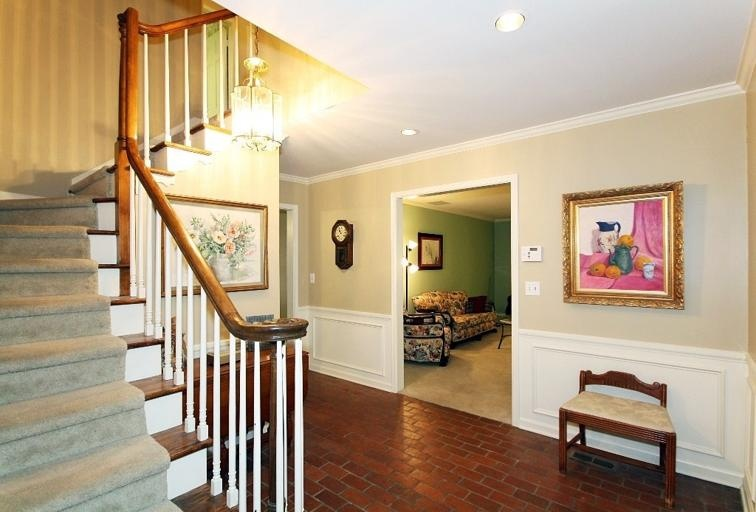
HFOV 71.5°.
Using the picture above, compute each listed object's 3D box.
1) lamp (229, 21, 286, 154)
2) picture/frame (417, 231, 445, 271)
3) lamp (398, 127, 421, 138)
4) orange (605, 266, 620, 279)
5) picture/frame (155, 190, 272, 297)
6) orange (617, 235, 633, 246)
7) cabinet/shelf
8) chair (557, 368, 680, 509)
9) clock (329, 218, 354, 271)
[{"bbox_3d":[-1.018,-1.411,4.507,0.422,1.003,0.914,-2,12,-11],"label":"lamp"},{"bbox_3d":[0.957,-0.066,9.529,0.032,0.669,0.909,-3,3,-23],"label":"picture/frame"},{"bbox_3d":[0.332,-1.268,5.427,0.190,0.075,0.215,1,11,2],"label":"lamp"},{"bbox_3d":[2.193,0.153,4.927,0.109,0.101,0.106,-32,20,-25],"label":"orange"},{"bbox_3d":[-1.530,-0.130,4.865,1.051,0.859,0.072,-9,13,-40],"label":"picture/frame"},{"bbox_3d":[2.286,-0.144,4.890,0.100,0.104,0.103,-19,33,-9],"label":"orange"},{"bbox_3d":[-1.114,1.490,4.764,0.309,0.773,0.906,3,-3,25],"label":"cabinet/shelf"},{"bbox_3d":[2.136,1.409,4.838,1.174,1.179,0.921,-1,-1,34],"label":"chair"},{"bbox_3d":[-0.452,-0.138,6.815,0.348,0.652,0.149,8,14,34],"label":"clock"}]
